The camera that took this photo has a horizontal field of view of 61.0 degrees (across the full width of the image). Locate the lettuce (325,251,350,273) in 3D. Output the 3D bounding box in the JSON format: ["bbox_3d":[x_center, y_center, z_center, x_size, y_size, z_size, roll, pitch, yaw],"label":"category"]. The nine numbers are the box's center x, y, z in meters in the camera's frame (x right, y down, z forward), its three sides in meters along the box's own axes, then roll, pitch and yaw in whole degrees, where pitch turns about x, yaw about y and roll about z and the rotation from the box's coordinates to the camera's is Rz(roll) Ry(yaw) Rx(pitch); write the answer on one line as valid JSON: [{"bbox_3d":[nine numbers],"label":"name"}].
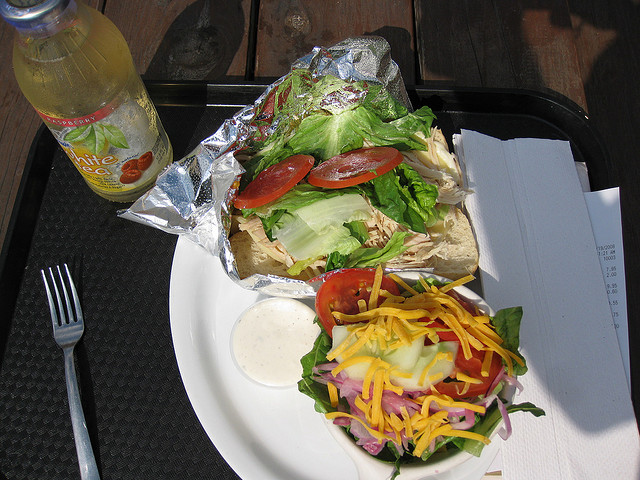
[{"bbox_3d":[0.050,0.071,1.722,0.055,0.024,0.071,16,93,-23],"label":"lettuce"}]

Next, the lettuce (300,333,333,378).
[{"bbox_3d":[-0.011,0.350,1.594,0.078,0.059,0.131,35,73,12],"label":"lettuce"}]

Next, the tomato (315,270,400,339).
[{"bbox_3d":[0.076,0.166,1.581,0.191,0.086,0.209,5,64,2],"label":"tomato"}]

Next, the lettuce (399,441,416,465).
[{"bbox_3d":[0.245,0.619,1.568,0.056,0.059,0.025,-27,119,17],"label":"lettuce"}]

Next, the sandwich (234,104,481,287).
[{"bbox_3d":[0.103,-0.133,1.765,0.569,0.246,0.733,-4,74,-10],"label":"sandwich"}]

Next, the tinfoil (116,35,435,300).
[{"bbox_3d":[-0.171,-0.318,1.739,0.726,0.212,1.103,31,80,-22],"label":"tinfoil"}]
